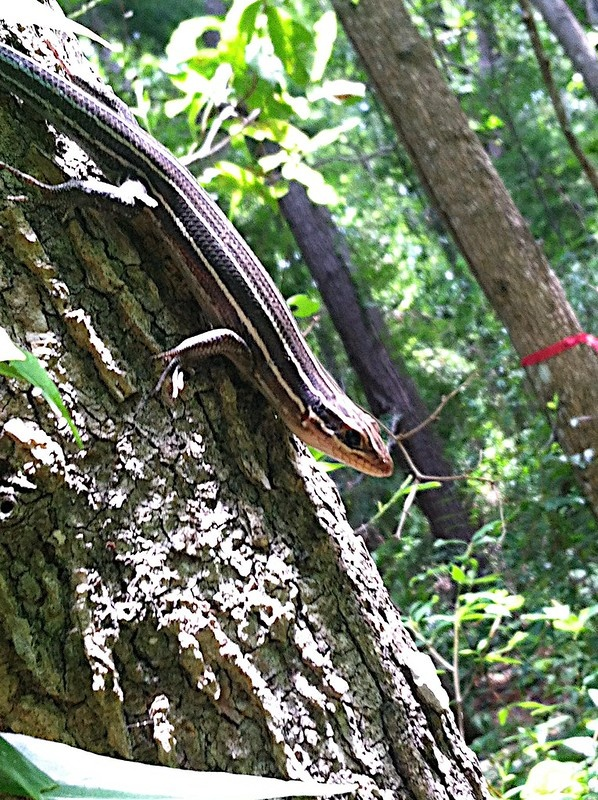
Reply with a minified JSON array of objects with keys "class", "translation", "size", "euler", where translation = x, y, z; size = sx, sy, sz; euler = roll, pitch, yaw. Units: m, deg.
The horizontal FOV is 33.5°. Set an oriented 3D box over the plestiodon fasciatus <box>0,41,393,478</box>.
[{"class":"plestiodon fasciatus","translation":[-0.231,-0.326,2.368],"size":[0.164,1.400,0.461],"euler":[-38,-2,21]}]
